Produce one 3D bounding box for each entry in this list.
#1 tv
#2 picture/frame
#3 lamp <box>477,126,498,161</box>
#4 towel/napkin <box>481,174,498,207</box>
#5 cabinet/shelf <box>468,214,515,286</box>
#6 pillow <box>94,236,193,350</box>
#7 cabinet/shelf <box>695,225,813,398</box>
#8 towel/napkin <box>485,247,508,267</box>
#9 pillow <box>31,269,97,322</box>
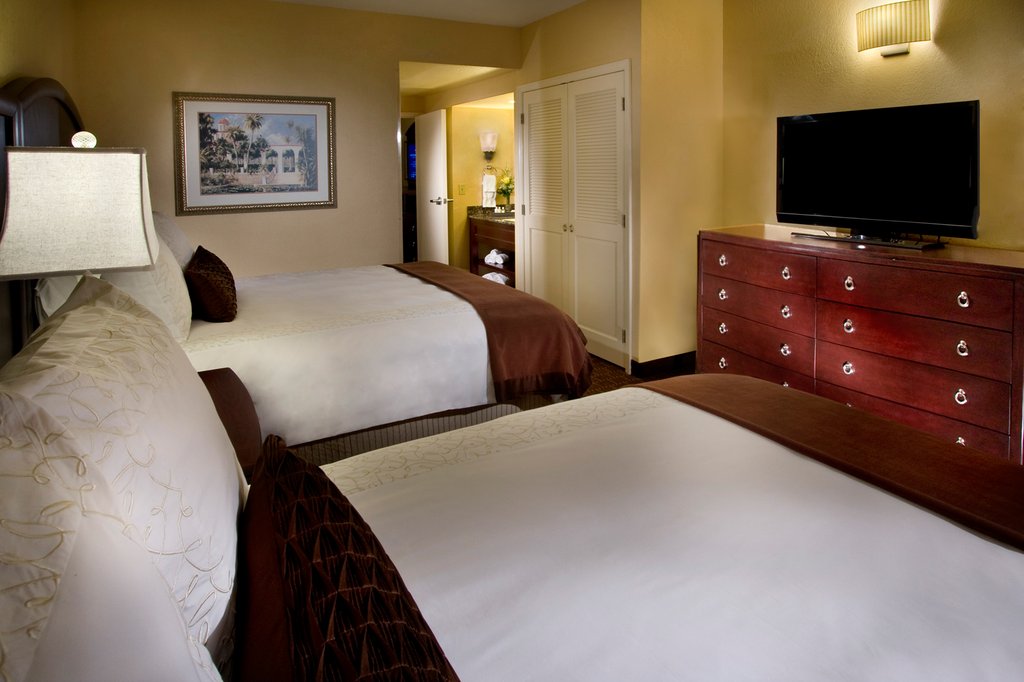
[{"bbox_3d":[1.925,-0.886,3.478,0.219,0.685,1.131,-7,16,-21],"label":"tv"},{"bbox_3d":[-2.178,-1.567,5.269,1.042,0.840,0.048,-4,10,-26],"label":"picture/frame"},{"bbox_3d":[-0.285,-2.363,7.739,0.302,0.467,0.292,-10,18,-37],"label":"lamp"},{"bbox_3d":[-0.285,-1.828,7.829,0.195,0.432,0.253,-2,14,-3],"label":"towel/napkin"},{"bbox_3d":[-0.219,-1.015,7.088,0.348,1.004,1.003,-3,9,-21],"label":"cabinet/shelf"},{"bbox_3d":[-1.102,-0.141,1.925,0.135,0.281,0.403,-13,29,-15],"label":"pillow"},{"bbox_3d":[1.400,-0.179,3.685,0.365,0.870,0.870,-4,9,-27],"label":"cabinet/shelf"},{"bbox_3d":[-0.199,-0.935,7.312,0.218,0.085,0.226,9,19,26],"label":"towel/napkin"},{"bbox_3d":[-1.172,-0.119,1.674,0.045,0.143,0.107,25,5,26],"label":"pillow"}]
